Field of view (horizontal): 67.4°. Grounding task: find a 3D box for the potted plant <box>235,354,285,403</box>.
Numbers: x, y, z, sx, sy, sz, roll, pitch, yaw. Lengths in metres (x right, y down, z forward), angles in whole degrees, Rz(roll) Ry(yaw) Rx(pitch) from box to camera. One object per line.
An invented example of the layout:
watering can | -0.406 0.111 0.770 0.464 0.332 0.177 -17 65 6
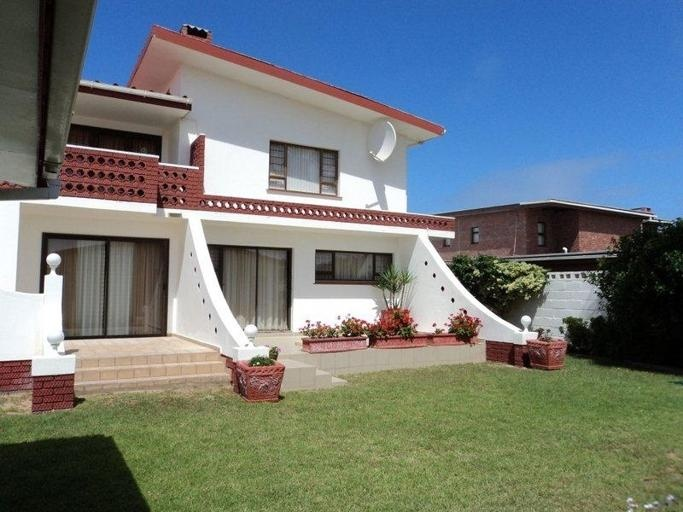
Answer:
potted plant | -1.775 2.635 11.117 0.773 0.713 0.946 3 -7 -22

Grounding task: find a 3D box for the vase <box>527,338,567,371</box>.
vase | 6.113 2.926 15.280 0.782 0.871 0.939 1 -5 -20
